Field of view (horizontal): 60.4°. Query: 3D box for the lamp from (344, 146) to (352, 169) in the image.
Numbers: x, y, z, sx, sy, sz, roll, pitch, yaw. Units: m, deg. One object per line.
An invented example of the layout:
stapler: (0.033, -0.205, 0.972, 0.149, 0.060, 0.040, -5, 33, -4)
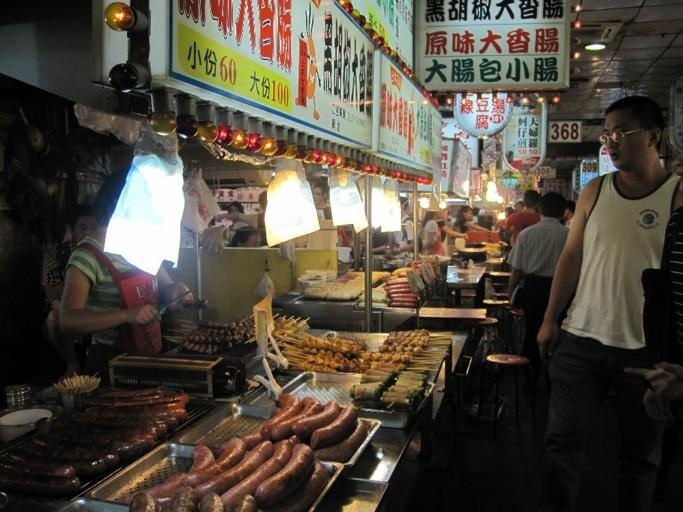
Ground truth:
lamp: (0.041, -0.672, 4.033, 0.059, 0.130, 0.192, -1, 8, 7)

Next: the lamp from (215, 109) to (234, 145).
lamp: (-0.547, -0.597, 2.705, 0.072, 0.163, 0.048, -4, 8, -18)

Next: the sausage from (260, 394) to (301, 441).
sausage: (-0.315, 0.866, 3.046, 0.107, 0.073, 0.324, 11, 3, 10)

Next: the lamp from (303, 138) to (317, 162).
lamp: (-0.181, -0.620, 3.408, 0.107, 0.143, 0.108, 3, 13, 7)

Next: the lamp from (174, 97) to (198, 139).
lamp: (-0.657, -0.594, 2.503, 0.112, 0.177, 0.073, -8, 10, -40)

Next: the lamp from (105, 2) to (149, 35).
lamp: (-0.837, -0.914, 2.262, 0.129, 0.103, 0.110, 1, 8, 20)

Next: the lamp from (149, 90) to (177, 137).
lamp: (-0.740, -0.592, 2.413, 0.100, 0.186, 0.132, -4, 8, -15)

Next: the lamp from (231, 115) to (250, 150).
lamp: (-0.480, -0.602, 2.830, 0.050, 0.166, 0.152, 0, 8, 17)

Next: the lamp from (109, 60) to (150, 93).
lamp: (-0.825, -0.690, 2.268, 0.143, 0.104, 0.098, -7, 10, -35)

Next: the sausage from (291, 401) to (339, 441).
sausage: (-0.136, 0.865, 2.919, 0.106, 0.073, 0.304, 3, 7, 31)

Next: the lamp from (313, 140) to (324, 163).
lamp: (-0.138, -0.628, 3.513, 0.101, 0.132, 0.100, 0, 12, -5)

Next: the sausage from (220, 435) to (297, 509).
sausage: (-0.356, 0.946, 2.610, 0.102, 0.127, 0.499, -1, 8, 18)

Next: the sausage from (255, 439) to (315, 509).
sausage: (-0.247, 0.936, 2.508, 0.125, 0.135, 0.397, -20, -2, 31)

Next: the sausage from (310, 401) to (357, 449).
sausage: (-0.091, 0.838, 2.912, 0.108, 0.110, 0.340, 4, 5, 40)

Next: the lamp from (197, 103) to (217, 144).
lamp: (-0.601, -0.586, 2.596, 0.076, 0.168, 0.152, -3, 8, -10)
